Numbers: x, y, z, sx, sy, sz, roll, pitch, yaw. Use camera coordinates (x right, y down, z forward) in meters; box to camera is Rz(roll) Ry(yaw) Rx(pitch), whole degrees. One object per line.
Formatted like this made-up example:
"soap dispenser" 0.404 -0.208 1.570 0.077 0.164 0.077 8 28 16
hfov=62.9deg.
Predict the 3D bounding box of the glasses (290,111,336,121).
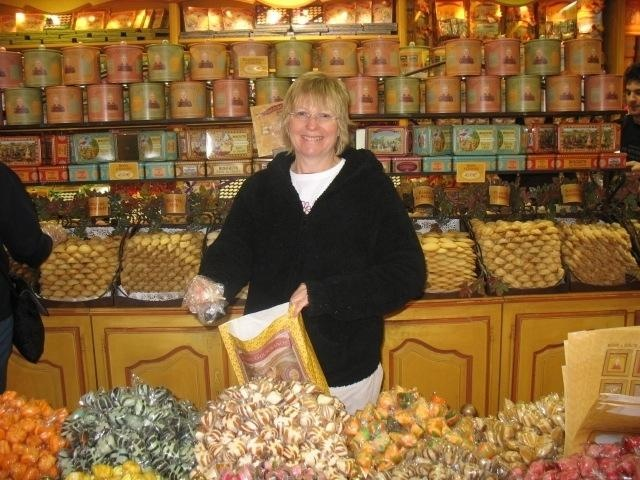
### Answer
"glasses" -0.025 -0.453 1.911 0.157 0.037 0.029 -1 7 2

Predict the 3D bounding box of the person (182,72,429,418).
"person" -0.038 -0.160 1.873 0.822 0.892 0.546 0 8 14
